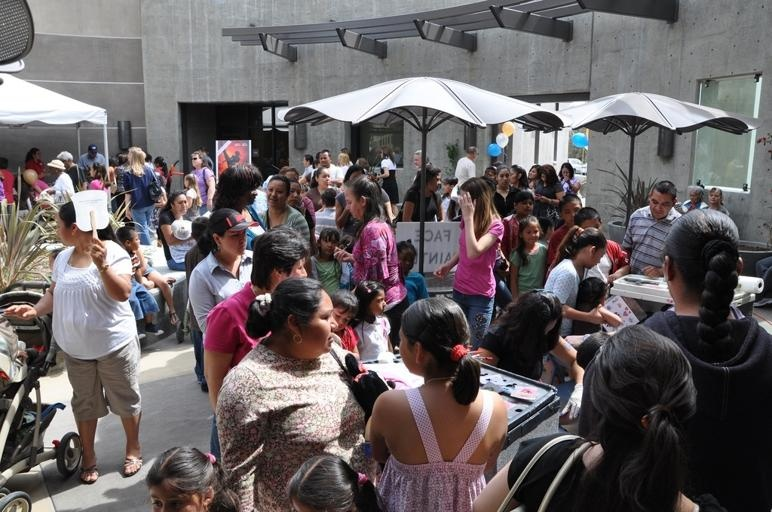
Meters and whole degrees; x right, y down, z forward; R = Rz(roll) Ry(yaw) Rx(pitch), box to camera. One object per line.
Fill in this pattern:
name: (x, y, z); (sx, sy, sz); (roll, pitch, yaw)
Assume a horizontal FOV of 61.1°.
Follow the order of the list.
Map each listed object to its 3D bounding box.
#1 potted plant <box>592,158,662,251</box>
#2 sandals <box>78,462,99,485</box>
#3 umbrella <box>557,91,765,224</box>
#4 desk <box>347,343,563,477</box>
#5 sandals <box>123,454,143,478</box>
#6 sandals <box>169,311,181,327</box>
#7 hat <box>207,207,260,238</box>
potted plant: (4.429, -0.767, 11.925); (0.895, 1.473, 1.041); (20, 2, 5)
sandals: (-2.506, 1.829, 5.488); (0.160, 0.104, 0.406); (-1, 0, -31)
umbrella: (3.462, -1.061, 8.859); (1.987, 1.858, 2.125); (10, 23, 19)
desk: (0.579, 1.008, 4.525); (1.102, 0.390, 0.774); (8, 17, 24)
sandals: (-2.190, 1.772, 5.614); (0.171, 0.140, 0.216); (-6, 16, -23)
sandals: (-2.745, 0.845, 8.444); (0.098, 0.281, 0.078); (-13, 31, -34)
hat: (-1.136, -0.251, 4.792); (0.322, 0.145, 0.220); (3, 11, 3)
